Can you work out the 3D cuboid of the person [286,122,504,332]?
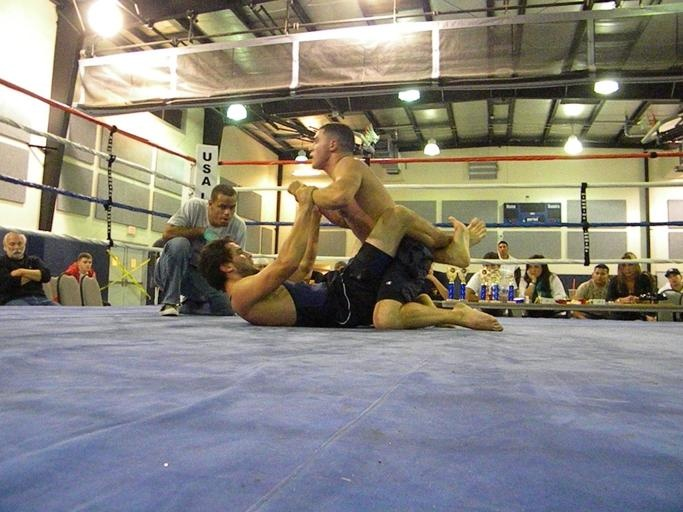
[{"bbox_3d":[0.203,-0.167,2.584,1.148,1.093,0.591,-6,-5,7],"label":"person"}]

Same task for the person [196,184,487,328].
[{"bbox_3d":[0.048,0.022,2.418,1.434,0.611,0.457,0,0,-10],"label":"person"}]
